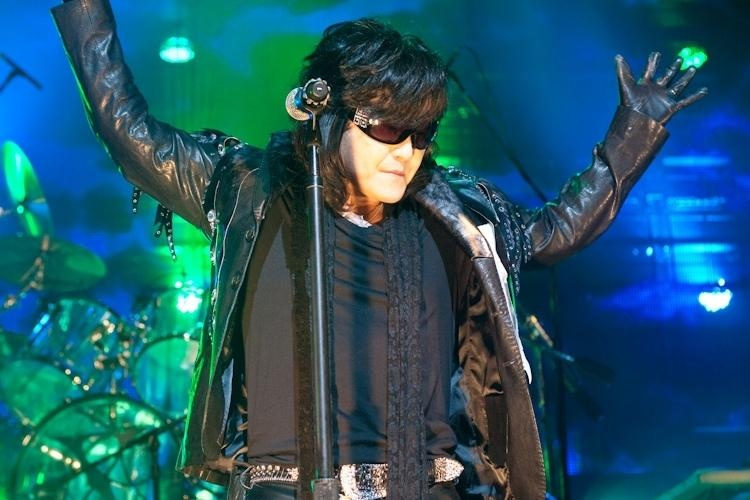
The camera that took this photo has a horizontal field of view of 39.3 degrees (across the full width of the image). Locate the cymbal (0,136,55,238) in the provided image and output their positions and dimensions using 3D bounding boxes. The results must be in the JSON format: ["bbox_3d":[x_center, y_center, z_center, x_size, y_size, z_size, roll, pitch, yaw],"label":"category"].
[{"bbox_3d":[-2.838,-0.493,8.550,0.056,0.614,0.617,-23,-24,-18],"label":"cymbal"}]

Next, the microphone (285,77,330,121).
[{"bbox_3d":[-0.386,-0.844,6.022,0.182,0.190,0.296,21,-37,-41],"label":"microphone"}]
